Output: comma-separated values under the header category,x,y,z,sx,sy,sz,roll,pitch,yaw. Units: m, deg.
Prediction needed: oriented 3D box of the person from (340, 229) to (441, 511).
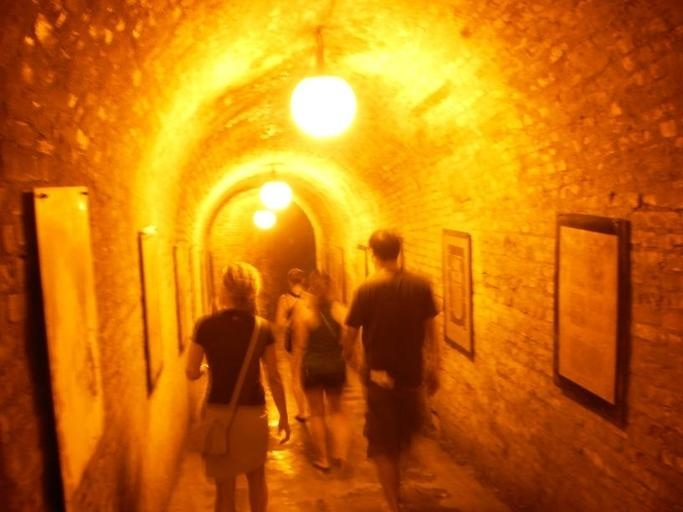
category,x,y,z,sx,sy,sz,roll,pitch,yaw
person,0.391,0.981,4.282,0.718,2.366,0.343,1,4,1

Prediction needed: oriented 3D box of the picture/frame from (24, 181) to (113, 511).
category,x,y,z,sx,sy,sz,roll,pitch,yaw
picture/frame,-1.324,0.423,2.631,0.204,1.540,0.581,-1,5,-15
